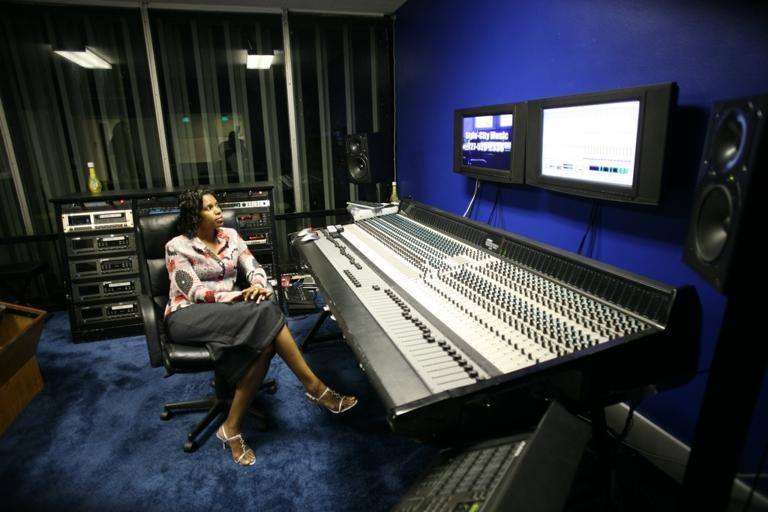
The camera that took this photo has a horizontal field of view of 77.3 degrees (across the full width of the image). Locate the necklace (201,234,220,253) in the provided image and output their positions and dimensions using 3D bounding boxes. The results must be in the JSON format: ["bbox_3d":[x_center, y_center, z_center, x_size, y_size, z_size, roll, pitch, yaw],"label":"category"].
[{"bbox_3d":[-1.224,-0.094,3.413,0.139,0.120,0.099,5,10,40],"label":"necklace"}]

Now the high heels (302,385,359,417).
[{"bbox_3d":[-0.367,0.998,3.297,0.340,0.122,0.198,15,21,-12],"label":"high heels"}]

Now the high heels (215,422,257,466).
[{"bbox_3d":[-0.927,1.227,3.117,0.334,0.141,0.152,32,19,23],"label":"high heels"}]

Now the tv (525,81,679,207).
[{"bbox_3d":[1.237,-0.662,2.898,0.092,0.623,0.910,-16,21,-32],"label":"tv"}]

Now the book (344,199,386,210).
[{"bbox_3d":[-0.188,-0.482,4.502,0.249,0.058,0.195,5,14,21],"label":"book"}]

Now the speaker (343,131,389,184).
[{"bbox_3d":[-0.145,-0.951,4.608,0.347,0.448,0.346,-12,17,-36],"label":"speaker"}]
